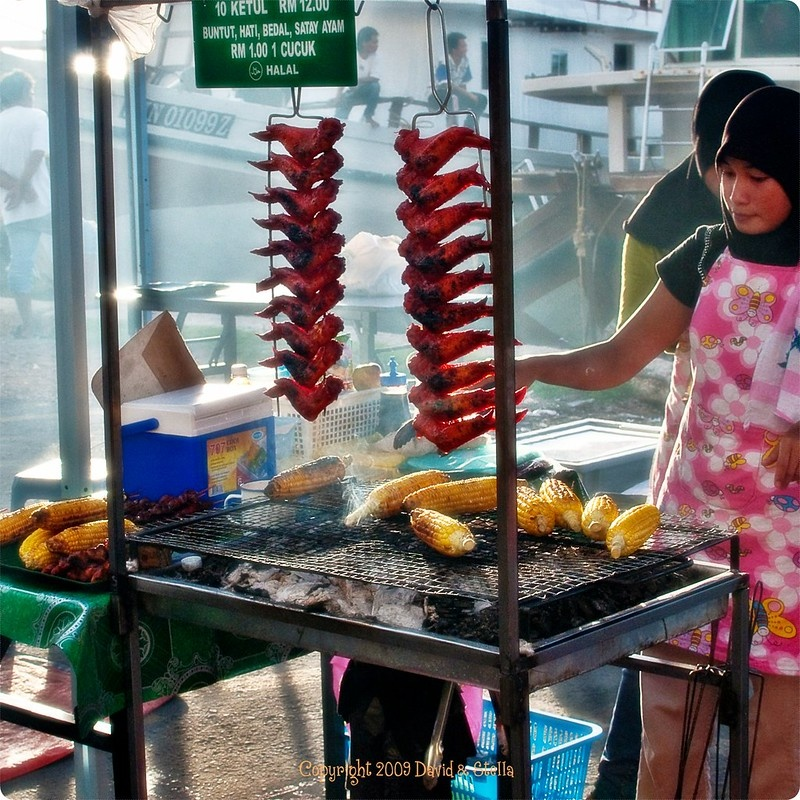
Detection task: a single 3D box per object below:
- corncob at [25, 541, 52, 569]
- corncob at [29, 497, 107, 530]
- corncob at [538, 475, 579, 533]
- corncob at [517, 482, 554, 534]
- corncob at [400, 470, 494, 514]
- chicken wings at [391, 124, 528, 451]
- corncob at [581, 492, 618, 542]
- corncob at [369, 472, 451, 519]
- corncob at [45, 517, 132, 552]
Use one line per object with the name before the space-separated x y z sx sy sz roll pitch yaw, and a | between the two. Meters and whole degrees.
corncob | -0.953 0.409 2.449 0.056 0.060 0.069 -4 9 -34
corncob | -0.927 0.317 2.664 0.096 0.068 0.302 -4 2 27
corncob | 0.388 0.259 2.298 0.066 0.052 0.161 -5 26 -19
corncob | 0.318 0.266 2.247 0.079 0.049 0.141 -9 14 -2
corncob | 0.165 0.235 2.403 0.317 0.069 0.080 -4 17 -8
chicken wings | 0.136 -0.265 2.342 0.348 0.770 0.107 -5 4 16
corncob | 0.461 0.276 2.208 0.070 0.060 0.124 28 27 14
corncob | 0.021 0.241 2.470 0.263 0.062 0.080 -17 14 -40
corncob | -0.825 0.354 2.448 0.262 0.055 0.075 -12 18 -41
